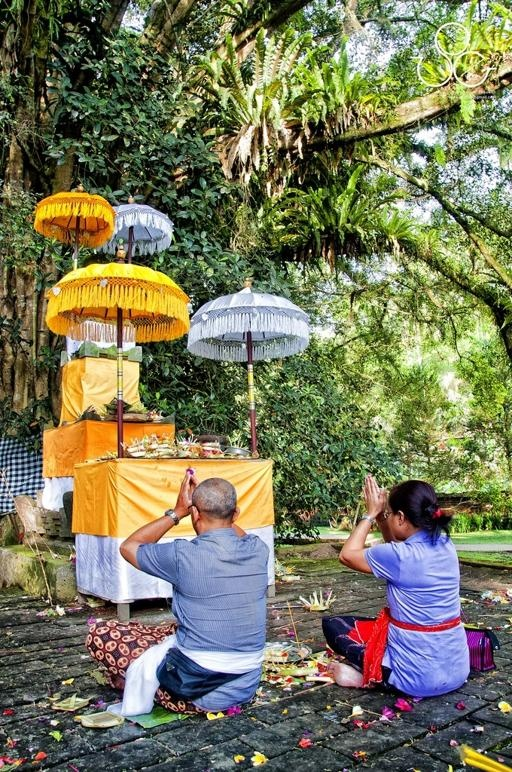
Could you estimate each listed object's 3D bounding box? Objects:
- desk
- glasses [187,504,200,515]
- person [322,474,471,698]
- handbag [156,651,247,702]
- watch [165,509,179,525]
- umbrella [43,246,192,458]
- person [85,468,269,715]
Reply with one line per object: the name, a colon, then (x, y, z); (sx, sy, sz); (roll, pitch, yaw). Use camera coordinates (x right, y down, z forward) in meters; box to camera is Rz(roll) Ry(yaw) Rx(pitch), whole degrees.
desk: (-0.942, 0.971, 6.039); (1.242, 1.168, 1.903); (4, -9, -33)
glasses: (-0.274, 0.546, 3.174); (0.015, 0.048, 0.054); (-11, 15, -38)
person: (0.675, 0.966, 3.536); (0.560, 1.035, 0.677); (2, -6, -26)
handbag: (-0.245, 1.237, 3.058); (0.313, 0.132, 0.216); (5, -42, 0)
watch: (-0.377, 0.594, 3.270); (0.052, 0.075, 0.078); (-34, -2, -17)
umbrella: (-0.959, -0.440, 6.213); (1.630, 2.020, 1.557); (-1, -3, -15)
person: (-0.278, 0.912, 3.169); (0.655, 1.070, 0.386); (-1, -6, 3)
